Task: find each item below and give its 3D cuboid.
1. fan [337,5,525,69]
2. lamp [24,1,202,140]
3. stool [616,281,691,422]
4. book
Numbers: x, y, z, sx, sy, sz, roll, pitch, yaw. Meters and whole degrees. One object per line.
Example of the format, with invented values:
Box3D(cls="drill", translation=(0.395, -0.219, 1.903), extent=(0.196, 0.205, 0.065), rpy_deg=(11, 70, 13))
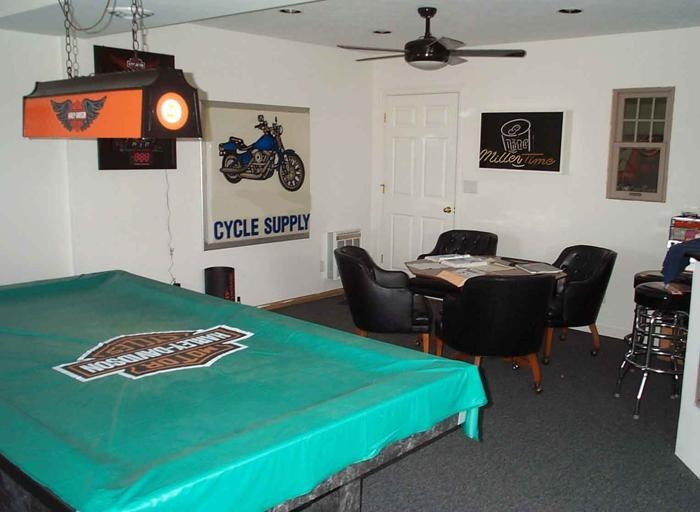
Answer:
Box3D(cls="fan", translation=(0.879, -2.223, 4.855), extent=(1.082, 0.387, 1.063), rpy_deg=(-2, 7, -13))
Box3D(cls="lamp", translation=(-1.312, -0.806, 2.600), extent=(1.099, 0.335, 0.293), rpy_deg=(8, 16, 29))
Box3D(cls="stool", translation=(2.667, 0.677, 4.150), extent=(0.519, 1.078, 1.342), rpy_deg=(9, 16, 30))
Box3D(cls="book", translation=(1.175, 0.124, 4.559), extent=(0.718, 0.166, 0.650), rpy_deg=(-3, 7, -16))
